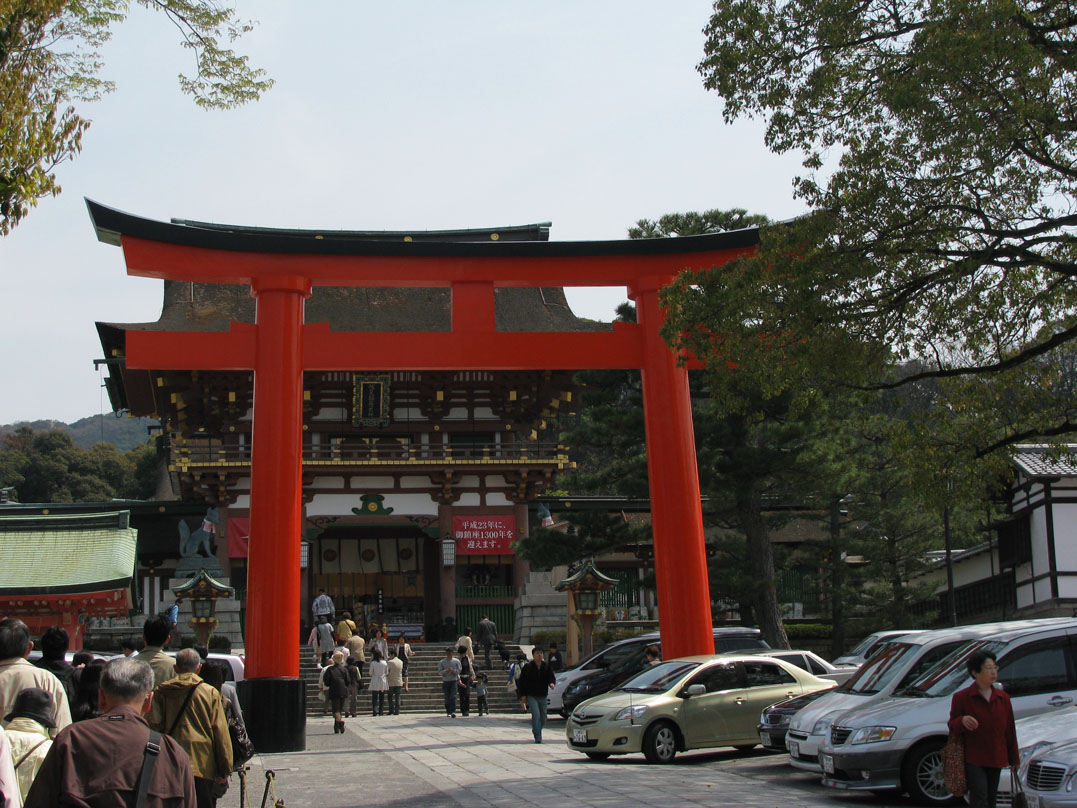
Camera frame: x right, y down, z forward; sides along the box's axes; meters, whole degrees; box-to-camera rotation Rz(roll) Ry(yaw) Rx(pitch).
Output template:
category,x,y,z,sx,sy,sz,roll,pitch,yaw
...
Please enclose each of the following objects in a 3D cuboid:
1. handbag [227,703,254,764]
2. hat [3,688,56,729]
category,x,y,z,sx,sy,sz,roll,pitch,yaw
handbag,-3.374,3.693,19.056,0.266,0.729,0.697,-2,-12,-11
hat,-5.232,3.116,17.557,0.413,0.284,0.441,6,-5,-11
